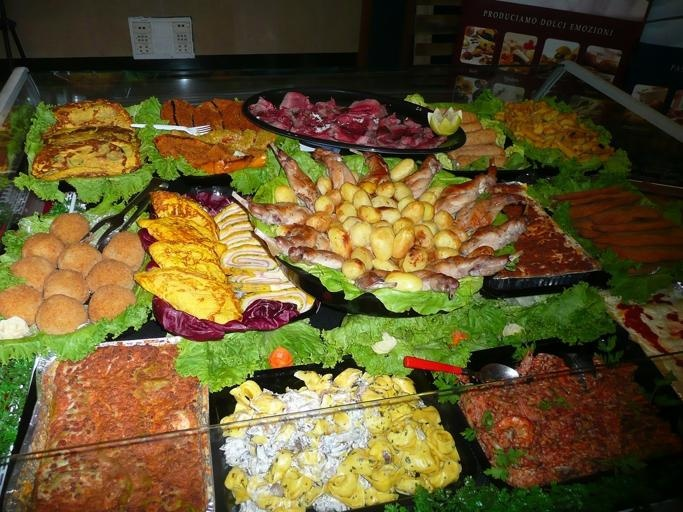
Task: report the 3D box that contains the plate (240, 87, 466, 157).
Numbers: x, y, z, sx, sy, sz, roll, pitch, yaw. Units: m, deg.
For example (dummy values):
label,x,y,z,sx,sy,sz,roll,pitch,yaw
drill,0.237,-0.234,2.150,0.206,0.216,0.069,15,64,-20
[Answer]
label,x,y,z,sx,sy,sz,roll,pitch,yaw
plate,0.061,-0.653,2.302,0.788,0.067,0.599,6,32,1

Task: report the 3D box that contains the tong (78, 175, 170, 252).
label,x,y,z,sx,sy,sz,roll,pitch,yaw
tong,-0.917,-0.211,2.055,0.153,0.050,0.507,29,50,17

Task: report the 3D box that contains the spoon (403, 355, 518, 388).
label,x,y,z,sx,sy,sz,roll,pitch,yaw
spoon,0.466,0.464,1.830,0.616,0.072,0.130,6,32,-16
